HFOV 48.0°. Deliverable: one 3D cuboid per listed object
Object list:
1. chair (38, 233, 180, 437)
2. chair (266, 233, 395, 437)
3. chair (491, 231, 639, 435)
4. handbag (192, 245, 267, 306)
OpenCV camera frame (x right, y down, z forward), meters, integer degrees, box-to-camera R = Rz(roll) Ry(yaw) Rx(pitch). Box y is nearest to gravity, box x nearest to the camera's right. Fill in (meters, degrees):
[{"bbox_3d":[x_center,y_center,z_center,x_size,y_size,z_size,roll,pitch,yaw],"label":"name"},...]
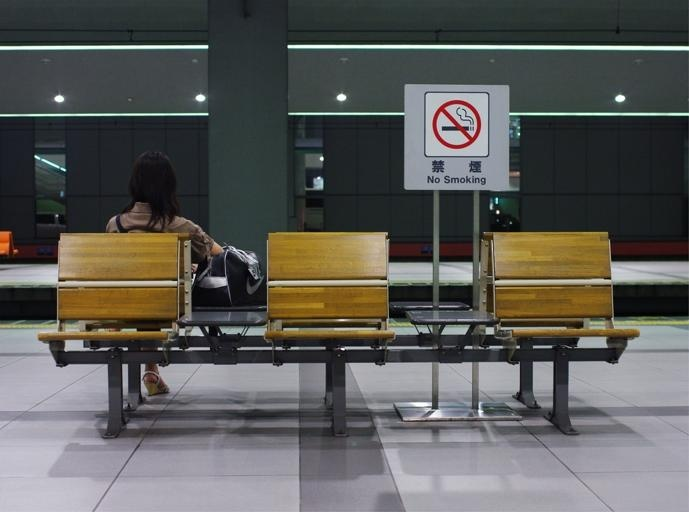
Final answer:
[{"bbox_3d":[-2.169,0.703,7.671,1.278,1.906,1.937,0,4,-7],"label":"chair"},{"bbox_3d":[-0.169,0.599,8.118,1.550,2.174,1.720,0,0,-2],"label":"chair"},{"bbox_3d":[2.009,0.572,7.555,1.455,2.224,1.889,-1,3,0],"label":"chair"},{"bbox_3d":[-1.170,0.193,7.928,0.616,0.612,0.611,1,4,10],"label":"handbag"}]
